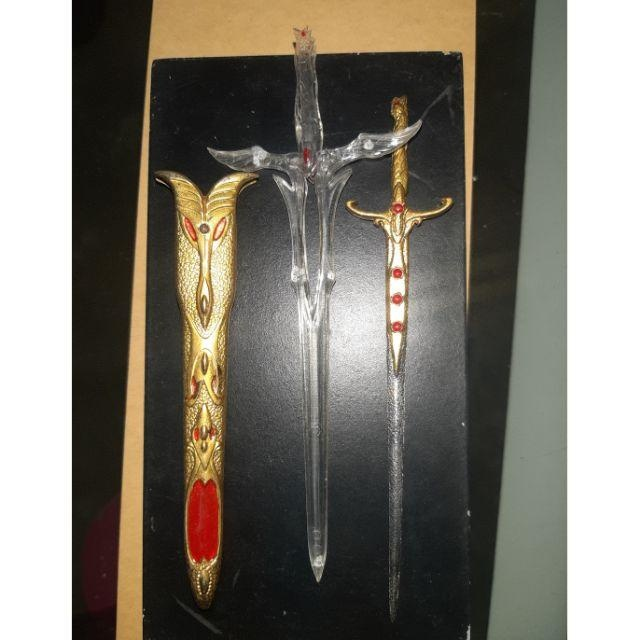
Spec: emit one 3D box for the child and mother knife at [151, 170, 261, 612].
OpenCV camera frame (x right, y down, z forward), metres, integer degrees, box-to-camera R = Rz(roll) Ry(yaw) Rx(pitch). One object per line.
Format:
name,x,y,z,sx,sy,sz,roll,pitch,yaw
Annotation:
child and mother knife,-0.308,0.155,2.302,0.249,1.042,0.157,5,-12,-14

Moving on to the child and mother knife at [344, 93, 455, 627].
child and mother knife,0.190,0.109,2.306,0.198,1.266,0.065,-2,-7,25
